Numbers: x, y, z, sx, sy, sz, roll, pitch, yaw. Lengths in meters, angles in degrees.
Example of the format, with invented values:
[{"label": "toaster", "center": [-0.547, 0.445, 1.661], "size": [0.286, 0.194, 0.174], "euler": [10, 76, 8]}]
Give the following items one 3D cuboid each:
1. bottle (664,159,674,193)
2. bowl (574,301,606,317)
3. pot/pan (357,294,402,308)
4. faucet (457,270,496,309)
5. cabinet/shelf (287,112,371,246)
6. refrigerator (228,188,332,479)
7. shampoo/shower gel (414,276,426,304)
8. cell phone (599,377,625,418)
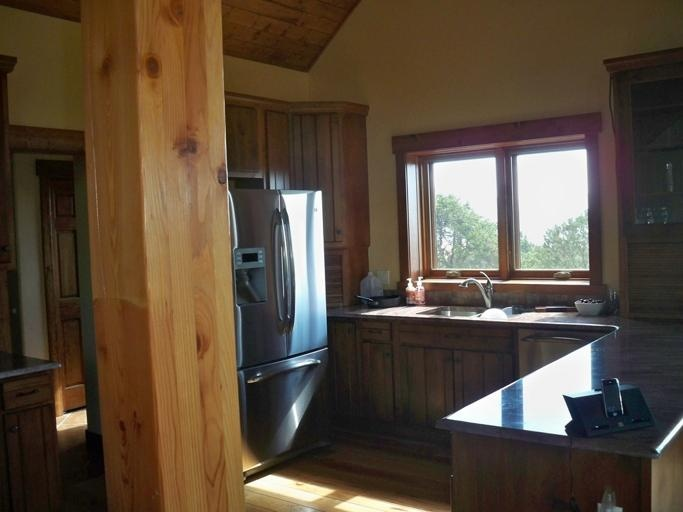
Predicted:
[{"label": "bottle", "center": [2.064, -0.498, 3.545], "size": [0.043, 0.191, 0.027], "euler": [-1, 2, 29]}, {"label": "bowl", "center": [1.789, 0.373, 4.062], "size": [0.137, 0.067, 0.105], "euler": [1, -2, 7]}, {"label": "pot/pan", "center": [0.344, 0.386, 4.977], "size": [0.389, 0.093, 0.306], "euler": [-2, 3, 0]}, {"label": "faucet", "center": [1.131, 0.318, 4.611], "size": [0.255, 0.396, 0.091], "euler": [-5, -35, 16]}, {"label": "cabinet/shelf", "center": [-0.127, -0.723, 5.196], "size": [0.645, 1.267, 0.585], "euler": [3, 9, 29]}, {"label": "refrigerator", "center": [-0.567, 0.526, 4.324], "size": [0.845, 1.970, 0.700], "euler": [-6, 8, -31]}, {"label": "shampoo/shower gel", "center": [0.704, 0.298, 5.001], "size": [0.082, 0.226, 0.239], "euler": [-1, 2, 9]}, {"label": "cell phone", "center": [0.920, 0.477, 1.907], "size": [0.012, 0.125, 0.064], "euler": [11, -23, -25]}]
